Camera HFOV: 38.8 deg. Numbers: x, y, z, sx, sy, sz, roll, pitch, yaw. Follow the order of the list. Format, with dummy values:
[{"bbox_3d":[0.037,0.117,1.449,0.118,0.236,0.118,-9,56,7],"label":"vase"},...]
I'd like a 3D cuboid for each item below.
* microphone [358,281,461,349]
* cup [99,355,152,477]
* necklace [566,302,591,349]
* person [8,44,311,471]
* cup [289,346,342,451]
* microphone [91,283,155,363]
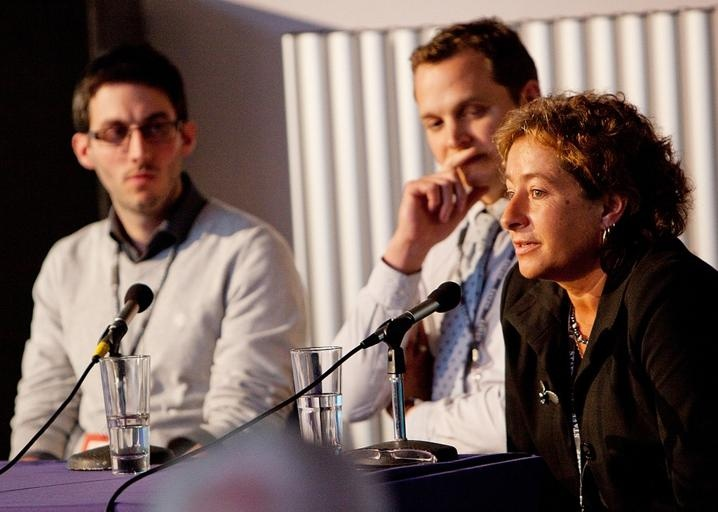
[{"bbox_3d":[0.200,0.237,3.895,0.440,0.118,0.106,-31,13,-25],"label":"microphone"},{"bbox_3d":[-0.743,0.511,3.273,0.150,0.371,0.188,-3,-6,-15],"label":"cup"},{"bbox_3d":[0.805,0.254,3.702,0.087,0.119,0.043,-4,-19,0],"label":"necklace"},{"bbox_3d":[-0.891,-0.066,4.281,1.155,1.696,0.589,-7,-7,20],"label":"person"},{"bbox_3d":[-0.122,0.450,3.189,0.154,0.320,0.193,-4,-6,-3],"label":"cup"},{"bbox_3d":[-0.782,0.218,3.363,0.106,0.253,0.214,-8,-7,28],"label":"microphone"}]
